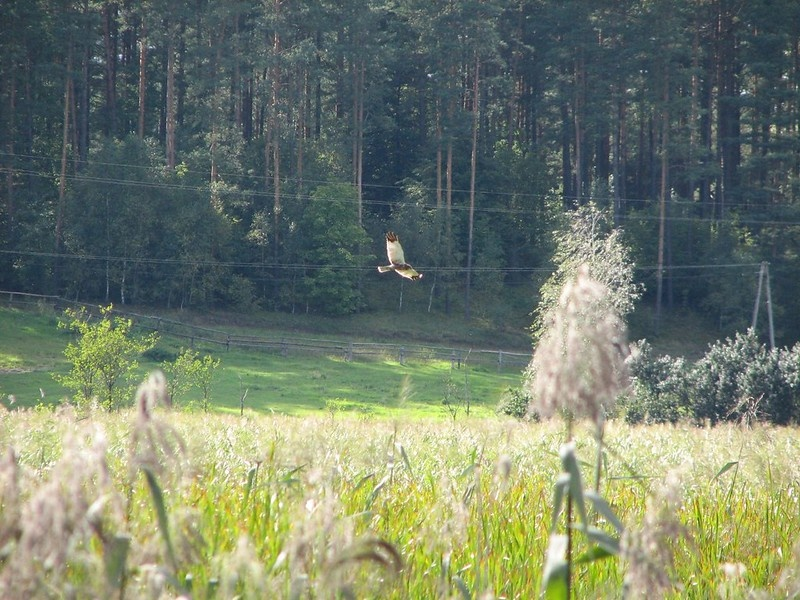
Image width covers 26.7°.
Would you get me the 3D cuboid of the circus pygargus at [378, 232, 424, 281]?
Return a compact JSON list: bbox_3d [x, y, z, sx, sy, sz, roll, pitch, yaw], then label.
[{"bbox_3d":[-0.049,-3.337,120.970,2.249,2.227,3.466,4,-2,0],"label":"circus pygargus"}]
